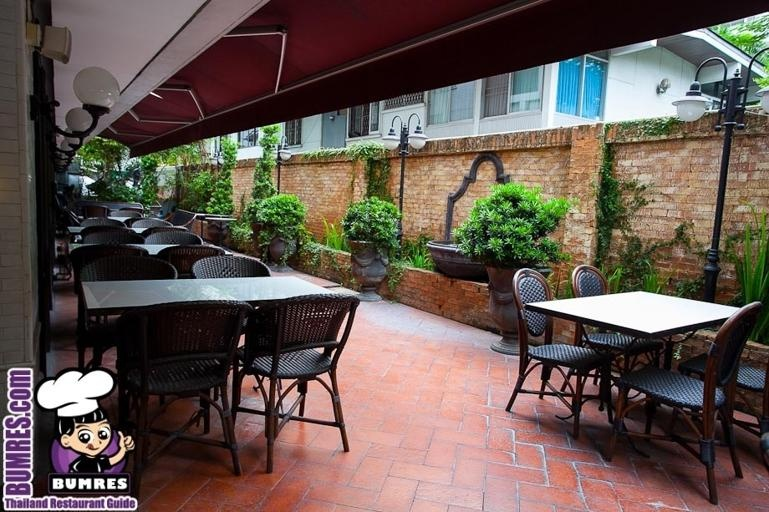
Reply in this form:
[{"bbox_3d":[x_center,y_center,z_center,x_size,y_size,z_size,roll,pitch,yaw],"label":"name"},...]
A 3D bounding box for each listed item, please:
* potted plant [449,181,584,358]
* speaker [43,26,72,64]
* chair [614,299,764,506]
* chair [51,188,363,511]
[{"bbox_3d":[1.634,0.189,7.368,2.176,2.826,1.913,0,-3,-2],"label":"potted plant"},{"bbox_3d":[-2.156,-1.396,3.378,0.142,0.205,0.127,2,9,-12],"label":"speaker"},{"bbox_3d":[2.631,1.065,4.420,0.932,1.508,1.238,12,12,41],"label":"chair"},{"bbox_3d":[-1.391,0.866,4.359,1.925,1.391,1.590,-2,10,-31],"label":"chair"}]
